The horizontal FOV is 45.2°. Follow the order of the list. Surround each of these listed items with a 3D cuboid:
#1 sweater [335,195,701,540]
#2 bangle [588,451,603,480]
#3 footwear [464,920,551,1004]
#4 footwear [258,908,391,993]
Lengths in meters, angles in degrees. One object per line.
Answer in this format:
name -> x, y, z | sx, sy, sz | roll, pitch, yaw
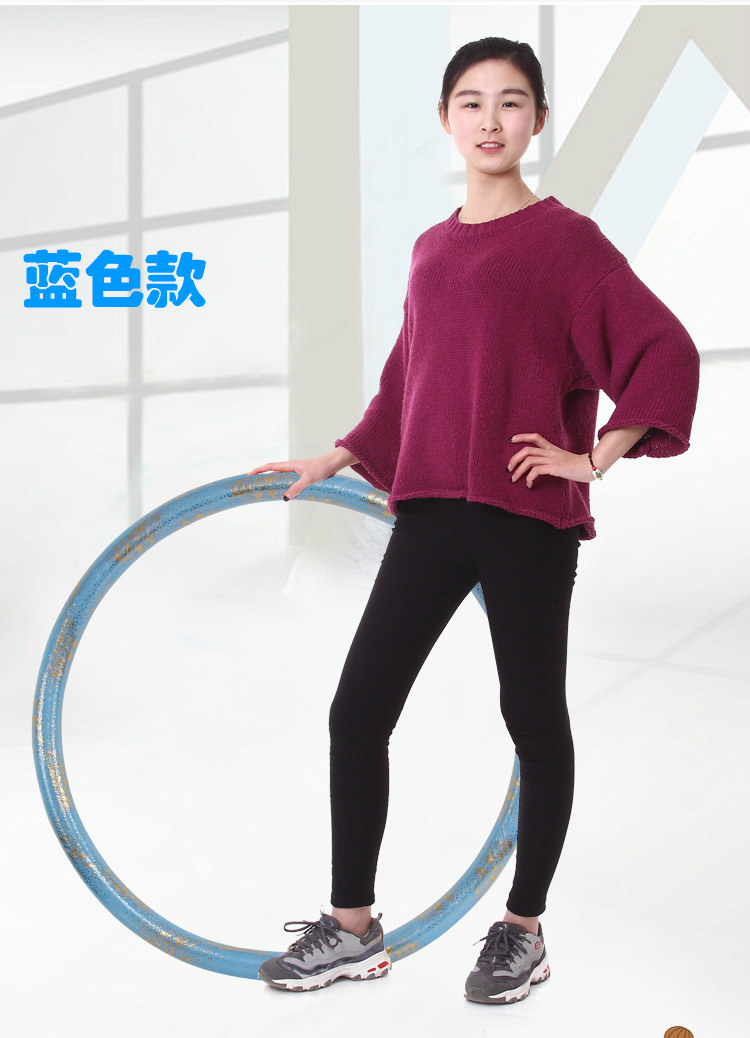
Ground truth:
sweater -> 0.186, -0.247, 1.381 | 0.234, 0.488, 0.601 | -1, 4, -43
bangle -> 0.301, -0.074, 1.237 | 0.016, 0.034, 0.032 | 0, -1, 16
footwear -> 0.201, 0.657, 1.355 | 0.075, 0.100, 0.210 | -8, -12, 31
footwear -> -0.069, 0.633, 1.357 | 0.192, 0.092, 0.097 | 4, -10, -19
